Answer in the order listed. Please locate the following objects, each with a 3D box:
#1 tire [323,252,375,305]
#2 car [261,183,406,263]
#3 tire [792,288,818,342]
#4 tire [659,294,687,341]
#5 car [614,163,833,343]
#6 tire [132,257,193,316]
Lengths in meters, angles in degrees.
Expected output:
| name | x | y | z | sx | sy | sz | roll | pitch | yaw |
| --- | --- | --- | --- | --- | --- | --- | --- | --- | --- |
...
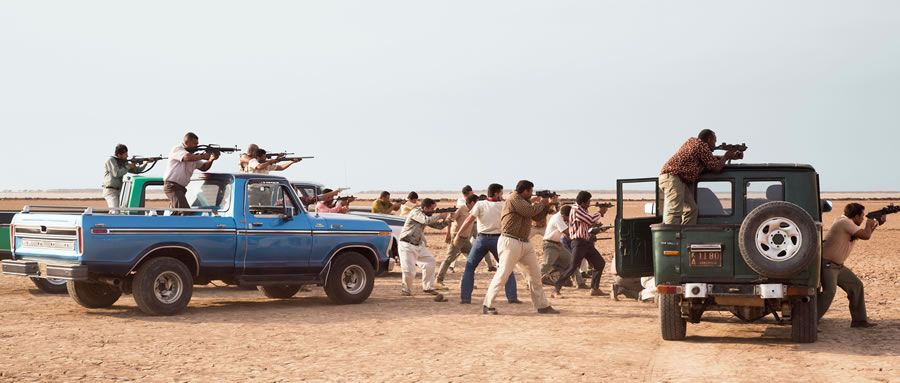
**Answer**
| name | x | y | z | sx | sy | sz | roll | pitch | yaw |
| --- | --- | --- | --- | --- | --- | --- | --- | --- | --- |
| tire | -2.934 | 2.553 | 18.785 | 1.631 | 1.271 | 0.518 | 2 | -10 | -41 |
| car | -3.564 | 0.829 | 22.793 | 4.845 | 1.632 | 2.326 | 0 | 7 | -10 |
| tire | 8.109 | 2.785 | 14.752 | 0.591 | 1.177 | 1.395 | -2 | -7 | 18 |
| tire | 5.209 | 2.894 | 15.056 | 0.518 | 1.039 | 1.219 | -3 | 10 | 18 |
| car | 6.955 | 1.479 | 17.358 | 5.702 | 3.000 | 6.085 | 0 | 5 | 9 |
| tire | -7.518 | 2.497 | 16.823 | 0.683 | 1.420 | 1.713 | -7 | -8 | 26 |
